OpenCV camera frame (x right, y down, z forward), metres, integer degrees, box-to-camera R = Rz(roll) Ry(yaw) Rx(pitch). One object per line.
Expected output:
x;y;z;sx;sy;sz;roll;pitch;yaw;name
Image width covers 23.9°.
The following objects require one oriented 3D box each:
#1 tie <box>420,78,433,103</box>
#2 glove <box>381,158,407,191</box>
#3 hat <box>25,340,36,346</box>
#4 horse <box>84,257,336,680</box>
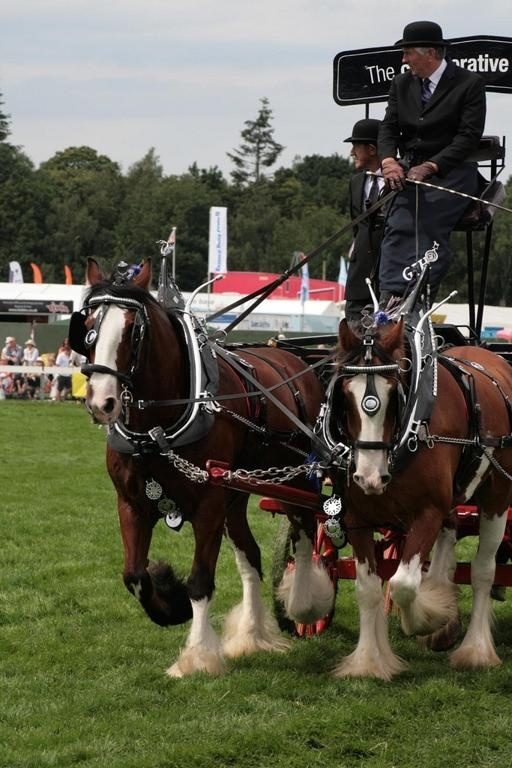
0.973;-1.692;7.017;0.064;0.118;0.038;-2;-12;28;tie
0.729;-1.127;6.555;0.127;0.063;0.211;16;30;-19;glove
-4.040;-0.760;21.983;0.169;0.055;0.177;15;-16;9;hat
-0.231;0.464;6.534;0.736;2.027;2.541;-2;-3;27;horse
